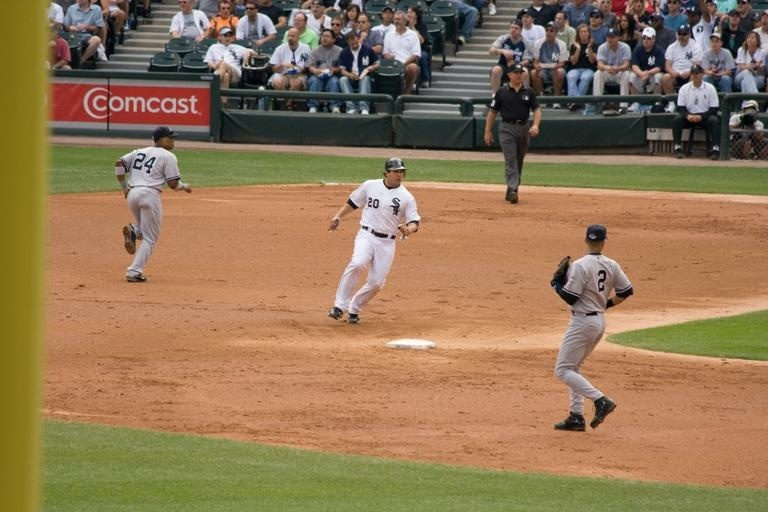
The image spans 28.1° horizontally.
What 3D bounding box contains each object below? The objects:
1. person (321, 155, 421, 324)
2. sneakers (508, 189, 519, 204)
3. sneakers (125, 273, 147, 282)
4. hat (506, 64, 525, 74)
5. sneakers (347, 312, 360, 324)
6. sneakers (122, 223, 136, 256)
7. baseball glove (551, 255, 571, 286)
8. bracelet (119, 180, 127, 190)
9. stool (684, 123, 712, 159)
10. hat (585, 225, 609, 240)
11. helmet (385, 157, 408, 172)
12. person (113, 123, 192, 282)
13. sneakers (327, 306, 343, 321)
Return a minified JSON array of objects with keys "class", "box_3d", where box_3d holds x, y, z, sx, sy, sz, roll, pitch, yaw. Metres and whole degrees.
[{"class":"person","box_3d":[-0.181,-0.255,25.629,1.371,2.767,0.680,4,8,-3]},{"class":"sneakers","box_3d":[2.746,-1.293,32.869,0.145,0.155,0.359,0,-27,-3]},{"class":"sneakers","box_3d":[-4.340,0.386,26.944,0.355,0.149,0.126,-1,49,-12]},{"class":"hat","box_3d":[2.757,-3.985,32.180,0.289,0.183,0.367,0,-3,-10]},{"class":"sneakers","box_3d":[-0.500,1.045,25.593,0.243,0.183,0.161,0,9,-28]},{"class":"sneakers","box_3d":[-4.476,-0.281,26.825,0.245,0.598,0.298,-7,-6,31]},{"class":"baseball glove","box_3d":[2.622,0.220,22.205,0.121,0.416,0.271,6,24,-33]},{"class":"bracelet","box_3d":[-4.605,-1.263,27.274,0.154,0.134,0.226,0,-2,-3]},{"class":"stool","box_3d":[7.775,-2.916,38.516,0.762,0.876,0.727,0,8,-1]},{"class":"hat","box_3d":[3.045,-0.334,22.254,0.263,0.227,0.288,5,8,5]},{"class":"helmet","box_3d":[0.142,-1.533,25.717,0.333,0.186,0.404,-3,5,-22]},{"class":"person","box_3d":[-4.167,-0.931,27.072,1.047,2.734,0.825,2,8,-15]},{"class":"sneakers","box_3d":[-0.803,0.970,25.565,0.128,0.164,0.346,29,-2,-1]}]
